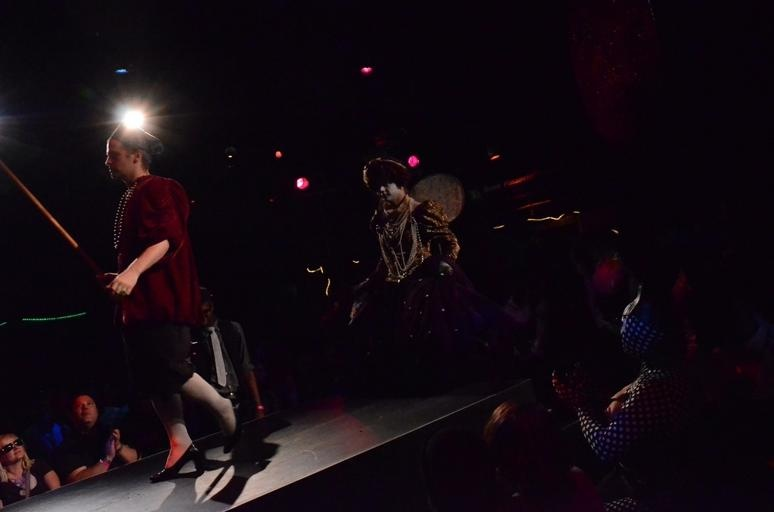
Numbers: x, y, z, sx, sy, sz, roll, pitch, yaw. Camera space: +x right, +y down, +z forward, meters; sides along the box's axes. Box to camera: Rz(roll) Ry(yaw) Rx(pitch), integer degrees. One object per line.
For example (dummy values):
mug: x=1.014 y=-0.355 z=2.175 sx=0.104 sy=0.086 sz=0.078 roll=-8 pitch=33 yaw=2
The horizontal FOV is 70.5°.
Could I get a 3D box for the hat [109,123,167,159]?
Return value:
hat: x=-1.677 y=-0.781 z=3.711 sx=0.293 sy=0.158 sz=0.233 roll=25 pitch=10 yaw=-12
